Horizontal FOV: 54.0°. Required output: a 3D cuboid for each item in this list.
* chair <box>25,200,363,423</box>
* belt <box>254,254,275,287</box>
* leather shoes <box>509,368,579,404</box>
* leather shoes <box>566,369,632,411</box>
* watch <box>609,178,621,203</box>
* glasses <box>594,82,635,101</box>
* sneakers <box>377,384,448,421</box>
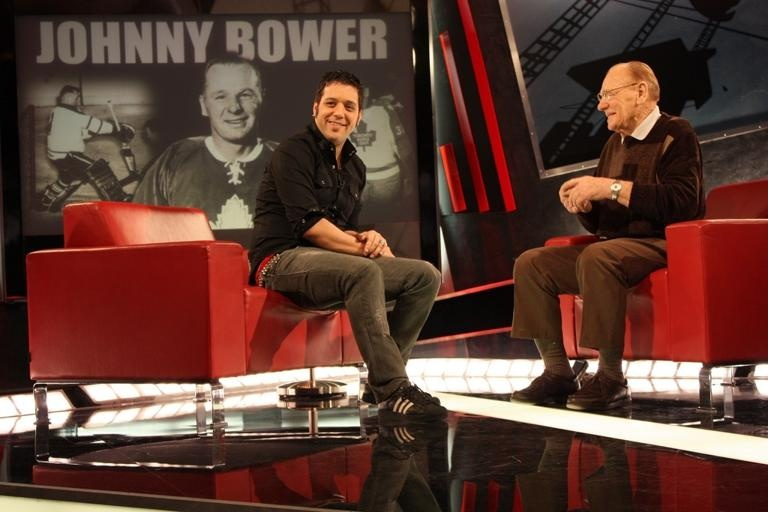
[{"bbox_3d":[-0.847,0.225,3.835,1.024,0.890,1.409,-2,-1,21],"label":"chair"},{"bbox_3d":[-0.553,0.064,3.504,0.052,0.141,0.104,36,13,-28],"label":"belt"},{"bbox_3d":[0.792,0.632,3.600,0.341,0.141,0.129,1,-1,-20],"label":"leather shoes"},{"bbox_3d":[0.979,0.614,3.358,0.286,0.117,0.136,3,-6,-36],"label":"leather shoes"},{"bbox_3d":[1.106,-0.301,3.515,0.061,0.080,0.076,8,-33,24],"label":"watch"},{"bbox_3d":[1.158,-0.801,3.677,0.101,0.025,0.095,-19,2,0],"label":"glasses"},{"bbox_3d":[0.134,0.639,3.261,0.288,0.118,0.144,-2,-2,5],"label":"sneakers"}]
